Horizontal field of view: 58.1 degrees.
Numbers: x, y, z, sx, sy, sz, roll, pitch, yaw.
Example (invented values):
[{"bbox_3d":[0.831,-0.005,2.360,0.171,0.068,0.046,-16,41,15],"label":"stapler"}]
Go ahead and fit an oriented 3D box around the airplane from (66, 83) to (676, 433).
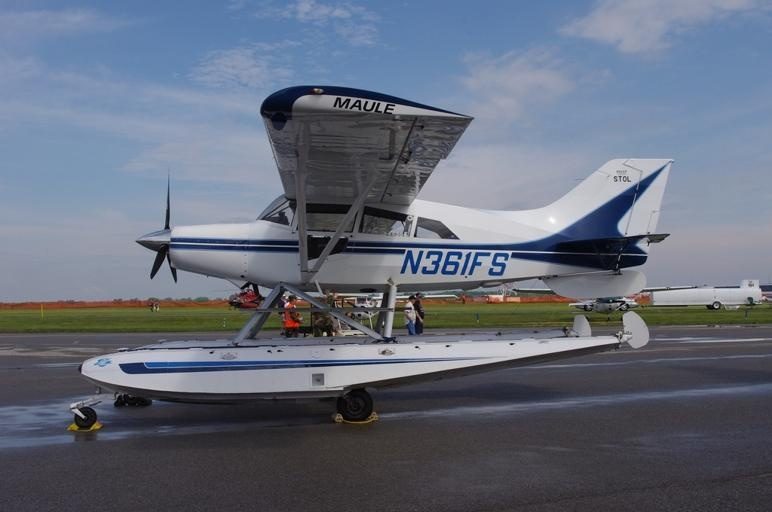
[{"bbox_3d":[-0.238,0.107,14.342,12.679,3.379,9.621,-5,-20,2],"label":"airplane"}]
